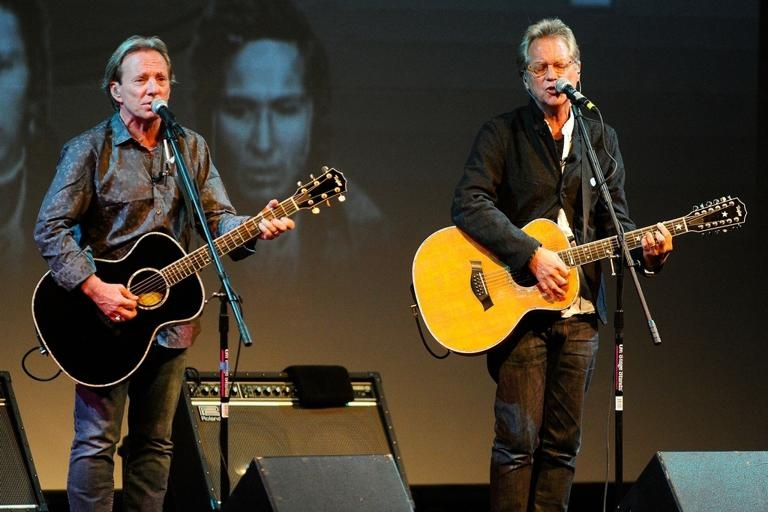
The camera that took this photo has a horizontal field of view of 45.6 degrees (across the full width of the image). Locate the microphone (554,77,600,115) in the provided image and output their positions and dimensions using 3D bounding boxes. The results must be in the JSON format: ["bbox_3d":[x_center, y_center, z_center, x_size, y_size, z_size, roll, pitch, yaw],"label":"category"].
[{"bbox_3d":[1.117,-0.915,5.133,0.187,0.194,0.300,1,0,-19],"label":"microphone"}]

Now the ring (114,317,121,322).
[{"bbox_3d":[-1.467,0.345,5.018,0.044,0.020,0.025,1,0,-19],"label":"ring"}]

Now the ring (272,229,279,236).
[{"bbox_3d":[-0.612,-0.133,5.185,0.035,0.028,0.009,-5,13,-33],"label":"ring"}]
